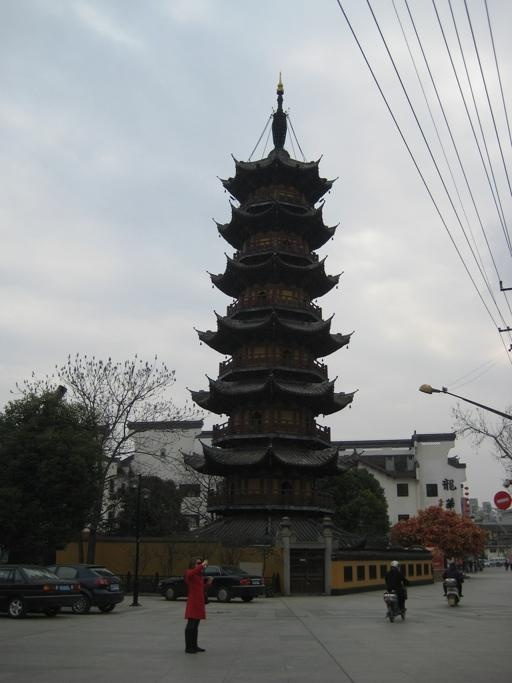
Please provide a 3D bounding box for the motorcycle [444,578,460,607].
[{"bbox_3d":[6.782,8.765,32.473,0.523,0.966,1.287,-2,-17,10],"label":"motorcycle"}]
